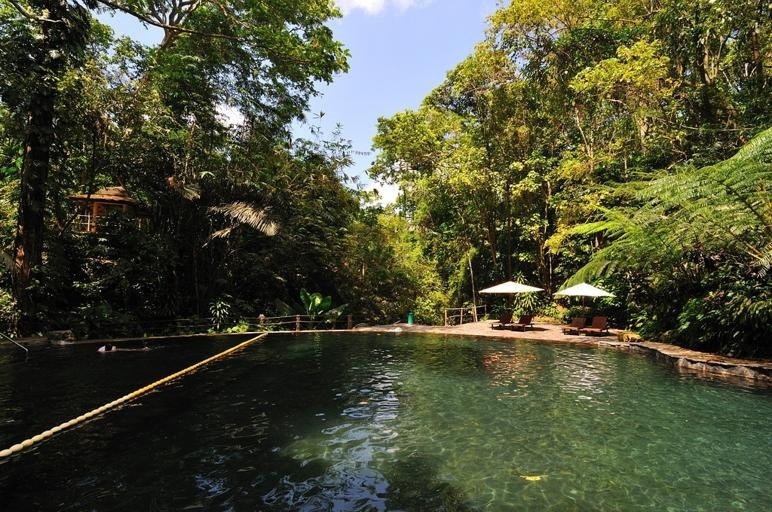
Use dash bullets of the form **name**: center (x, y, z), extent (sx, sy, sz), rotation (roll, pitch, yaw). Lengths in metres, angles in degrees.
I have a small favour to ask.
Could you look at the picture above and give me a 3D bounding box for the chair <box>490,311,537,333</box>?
- **chair**: center (6.573, 3.429, 26.610), extent (1.996, 0.817, 1.694), rotation (2, 1, 36)
